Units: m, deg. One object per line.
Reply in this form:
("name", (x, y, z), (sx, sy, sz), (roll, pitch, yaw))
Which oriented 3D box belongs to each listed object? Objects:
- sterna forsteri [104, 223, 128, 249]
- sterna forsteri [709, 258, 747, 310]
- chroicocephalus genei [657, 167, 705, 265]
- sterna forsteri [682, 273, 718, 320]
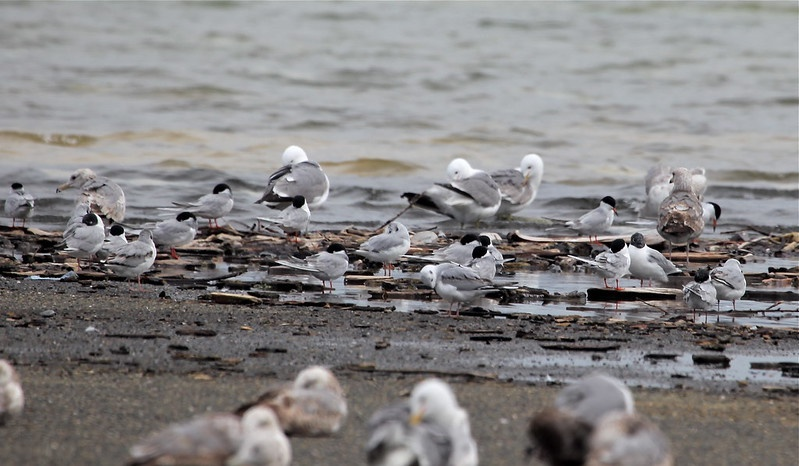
("sterna forsteri", (-6.736, 0.080, 25.487), (0.605, 0.539, 0.715), (9, 8, 11))
("sterna forsteri", (7.098, 1.114, 23.462), (0.896, 1.048, 1.625), (0, -8, 35))
("chroicocephalus genei", (7.387, -0.350, 28.031), (1.677, 2.759, 3.039), (2, 1, 18))
("sterna forsteri", (6.522, 1.289, 23.100), (0.733, 0.971, 1.036), (9, 19, 15))
